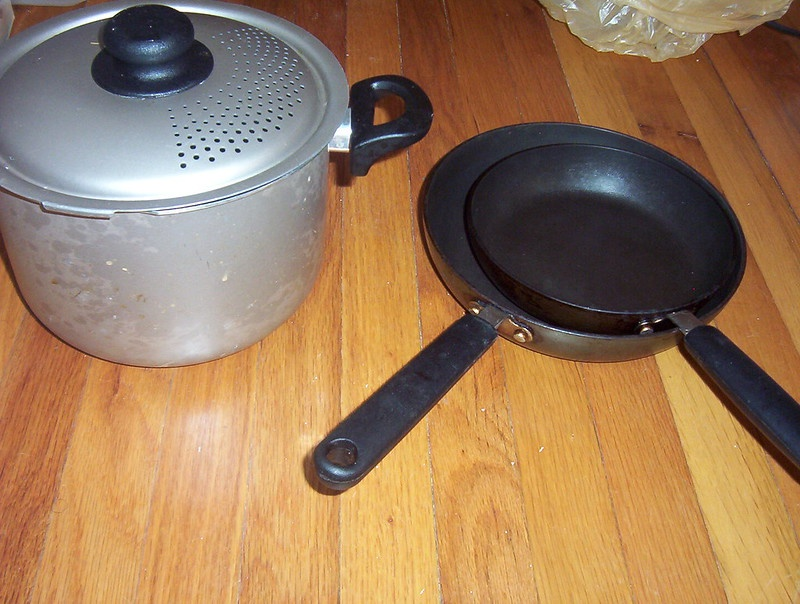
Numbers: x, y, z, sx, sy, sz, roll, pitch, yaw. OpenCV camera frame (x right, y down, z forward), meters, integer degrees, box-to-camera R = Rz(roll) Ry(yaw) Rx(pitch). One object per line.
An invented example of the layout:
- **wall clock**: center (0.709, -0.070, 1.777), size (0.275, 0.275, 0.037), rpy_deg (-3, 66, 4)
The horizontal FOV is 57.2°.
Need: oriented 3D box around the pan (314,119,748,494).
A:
- **pan**: center (0.087, 0.024, 0.693), size (0.270, 0.062, 0.467), rpy_deg (34, 49, 22)
